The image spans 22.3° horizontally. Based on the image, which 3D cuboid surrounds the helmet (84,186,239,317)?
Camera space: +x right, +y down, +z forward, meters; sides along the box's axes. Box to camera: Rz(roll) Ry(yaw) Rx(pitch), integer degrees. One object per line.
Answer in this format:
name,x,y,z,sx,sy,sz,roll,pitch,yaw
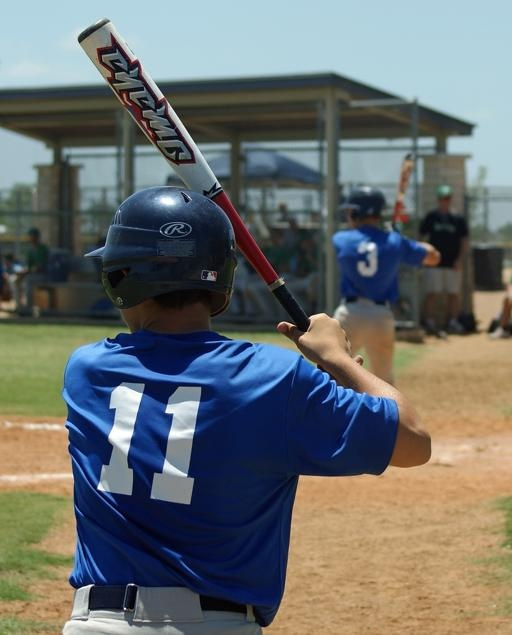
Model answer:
helmet,-0.228,-0.180,3.273,0.422,0.292,0.297,1,4,36
